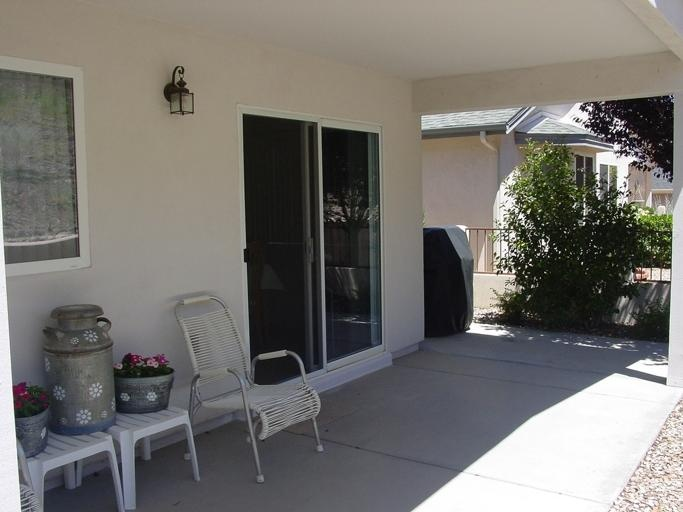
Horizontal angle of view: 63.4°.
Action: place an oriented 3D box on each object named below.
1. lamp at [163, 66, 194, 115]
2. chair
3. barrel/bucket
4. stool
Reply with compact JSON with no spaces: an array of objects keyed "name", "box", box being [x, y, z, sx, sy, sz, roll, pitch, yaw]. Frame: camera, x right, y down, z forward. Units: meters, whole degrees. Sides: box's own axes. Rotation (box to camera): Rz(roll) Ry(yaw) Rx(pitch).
[{"name":"lamp","box":[-1.258,-1.342,4.448,0.195,0.401,0.286,2,7,22]},{"name":"chair","box":[-0.795,0.964,4.389,1.177,1.244,0.876,5,9,44]},{"name":"barrel/bucket","box":[-1.674,0.738,3.569,0.392,0.799,0.218,-4,7,-29]},{"name":"stool","box":[-1.639,1.210,3.645,0.531,0.485,0.999,2,5,38]}]
